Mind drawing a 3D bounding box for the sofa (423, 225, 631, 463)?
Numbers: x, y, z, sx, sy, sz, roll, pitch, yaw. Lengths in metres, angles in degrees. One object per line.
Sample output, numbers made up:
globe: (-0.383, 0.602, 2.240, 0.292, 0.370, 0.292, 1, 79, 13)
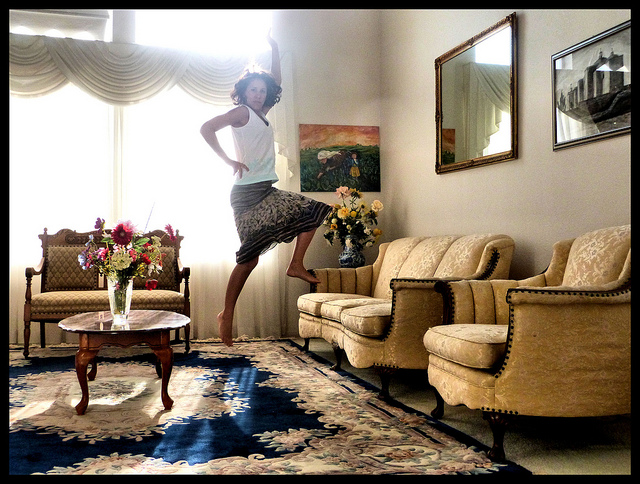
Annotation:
sofa: (1.034, 0.535, 2.869, 1.275, 1.283, 1.087, 4, -7, -15)

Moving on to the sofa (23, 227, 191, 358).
sofa: (-2.122, 0.498, 4.924, 1.516, 1.118, 0.576, 1, 5, -18)

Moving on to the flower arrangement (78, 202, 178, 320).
flower arrangement: (-1.387, 0.193, 3.381, 0.528, 0.679, 0.317, 0, -1, -23)

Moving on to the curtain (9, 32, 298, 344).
curtain: (-1.811, -0.548, 4.804, 3.772, 3.663, 0.247, 0, -2, -13)

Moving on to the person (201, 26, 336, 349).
person: (-0.397, -0.264, 3.392, 0.835, 1.961, 0.354, 0, 0, -14)

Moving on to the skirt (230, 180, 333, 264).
skirt: (-0.303, -0.149, 3.444, 0.616, 0.646, 0.242, -11, -16, -14)

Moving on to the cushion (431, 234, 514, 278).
cushion: (1.204, 0.124, 3.913, 0.487, 0.493, 0.425, 1, 1, -9)

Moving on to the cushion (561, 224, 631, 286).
cushion: (1.576, 0.087, 2.762, 0.116, 0.304, 0.325, 29, -25, -15)

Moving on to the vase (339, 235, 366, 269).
vase: (0.336, 0.110, 5.229, 0.339, 0.409, 0.323, 1, -7, -10)

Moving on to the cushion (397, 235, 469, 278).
cushion: (0.977, 0.136, 4.228, 0.210, 0.433, 0.443, 22, -7, -6)

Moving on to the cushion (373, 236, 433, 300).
cushion: (0.739, 0.266, 4.820, 0.627, 0.645, 0.534, 5, -9, -21)

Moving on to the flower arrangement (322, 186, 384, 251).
flower arrangement: (0.372, -0.258, 5.363, 0.610, 0.729, 0.587, 4, 1, 8)

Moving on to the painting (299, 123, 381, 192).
painting: (0.209, -0.995, 5.864, 1.134, 0.784, 0.016, 6, 13, 31)

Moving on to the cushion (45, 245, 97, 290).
cushion: (-2.443, 0.259, 4.713, 0.500, 0.464, 0.051, 1, -4, -8)

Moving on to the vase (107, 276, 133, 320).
vase: (-1.361, 0.382, 3.325, 0.151, 0.295, 0.148, 1, -1, -38)

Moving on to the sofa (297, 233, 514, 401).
sofa: (0.601, 0.512, 4.203, 1.213, 1.082, 2.078, -2, -1, -14)
